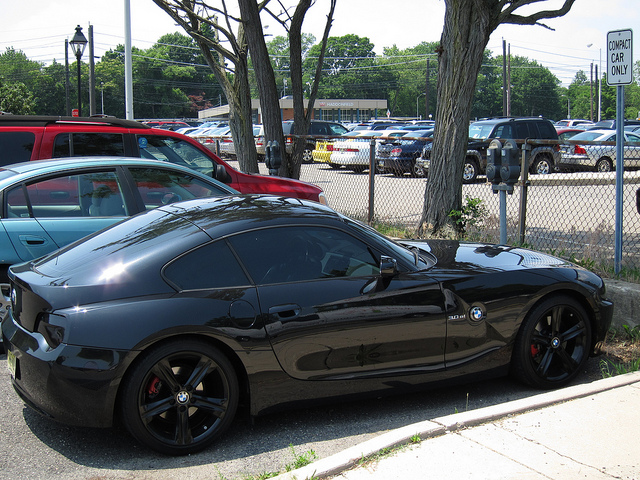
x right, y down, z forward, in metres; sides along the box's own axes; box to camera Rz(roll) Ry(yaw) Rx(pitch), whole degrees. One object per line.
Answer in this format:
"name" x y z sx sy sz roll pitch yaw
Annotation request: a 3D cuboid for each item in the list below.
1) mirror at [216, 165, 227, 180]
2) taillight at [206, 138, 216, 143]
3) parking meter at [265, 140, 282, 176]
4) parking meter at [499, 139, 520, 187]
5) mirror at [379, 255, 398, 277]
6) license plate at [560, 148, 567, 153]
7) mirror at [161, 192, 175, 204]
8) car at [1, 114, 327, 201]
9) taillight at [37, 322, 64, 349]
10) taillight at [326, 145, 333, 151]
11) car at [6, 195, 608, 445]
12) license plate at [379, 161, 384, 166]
"mirror" -1.376 -0.945 7.466 0.125 0.171 0.135 -4 2 0
"taillight" -5.664 -5.078 27.551 0.322 0.126 0.393 -1 3 -1
"parking meter" -0.930 -1.649 10.764 0.298 0.546 0.570 -5 2 0
"parking meter" 2.427 -0.988 6.908 0.248 0.609 0.274 -4 2 20
"mirror" 0.516 0.199 4.083 0.172 0.126 0.154 1 5 18
"license plate" 8.635 -3.178 19.141 0.218 0.153 0.050 0 -14 -10
"mirror" -1.779 -0.495 6.300 0.154 0.106 0.066 -4 2 -15
"car" -2.064 -1.177 7.167 3.666 1.018 1.496 -1 6 -17
"taillight" -1.754 0.613 3.517 0.199 0.131 0.049 33 13 30
"taillight" 0.385 -3.705 21.639 0.346 0.257 0.081 4 -6 41
"car" -0.125 0.534 4.219 4.107 1.442 0.978 -4 1 -22
"license plate" 2.307 -2.867 20.153 0.201 0.111 0.173 -1 11 -10
